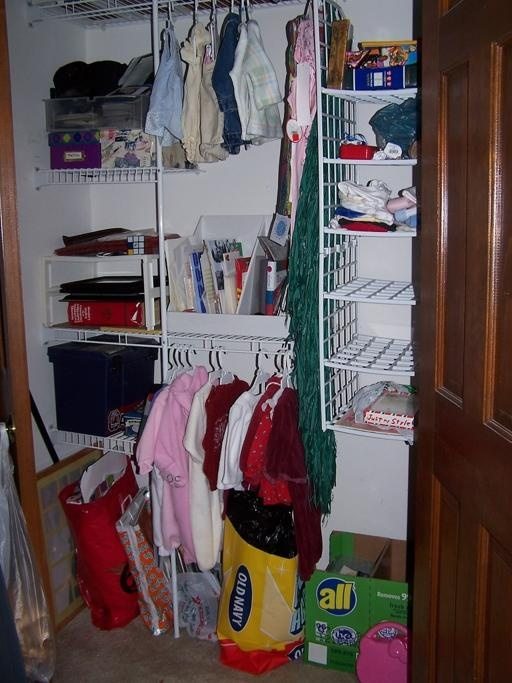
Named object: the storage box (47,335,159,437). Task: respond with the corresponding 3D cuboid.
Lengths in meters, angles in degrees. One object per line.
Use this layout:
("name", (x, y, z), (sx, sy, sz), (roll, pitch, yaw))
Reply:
("storage box", (-0.626, 0.165, 2.293), (0.303, 0.360, 0.388), (3, 10, 10))

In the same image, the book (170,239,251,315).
("book", (-0.190, -0.261, 2.099), (0.284, 0.285, 0.258), (-2, 9, -1))

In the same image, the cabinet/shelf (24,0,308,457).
("cabinet/shelf", (-0.413, -0.439, 2.172), (0.937, 1.715, 0.455), (-1, 8, 7))

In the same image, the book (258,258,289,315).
("book", (0.063, -0.200, 1.977), (0.102, 0.200, 0.106), (-2, 8, 0))

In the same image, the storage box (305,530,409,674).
("storage box", (0.370, 0.936, 1.987), (0.353, 0.389, 0.368), (0, 9, 16))

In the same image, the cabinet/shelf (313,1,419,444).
("cabinet/shelf", (0.366, -0.392, 1.778), (0.294, 1.348, 0.508), (0, 8, 16))

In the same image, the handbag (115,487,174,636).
("handbag", (-0.440, 0.864, 2.152), (0.186, 0.496, 0.252), (-4, 8, -13))

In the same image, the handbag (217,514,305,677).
("handbag", (0.006, 0.894, 1.909), (0.308, 0.503, 0.164), (-2, 8, 4))
